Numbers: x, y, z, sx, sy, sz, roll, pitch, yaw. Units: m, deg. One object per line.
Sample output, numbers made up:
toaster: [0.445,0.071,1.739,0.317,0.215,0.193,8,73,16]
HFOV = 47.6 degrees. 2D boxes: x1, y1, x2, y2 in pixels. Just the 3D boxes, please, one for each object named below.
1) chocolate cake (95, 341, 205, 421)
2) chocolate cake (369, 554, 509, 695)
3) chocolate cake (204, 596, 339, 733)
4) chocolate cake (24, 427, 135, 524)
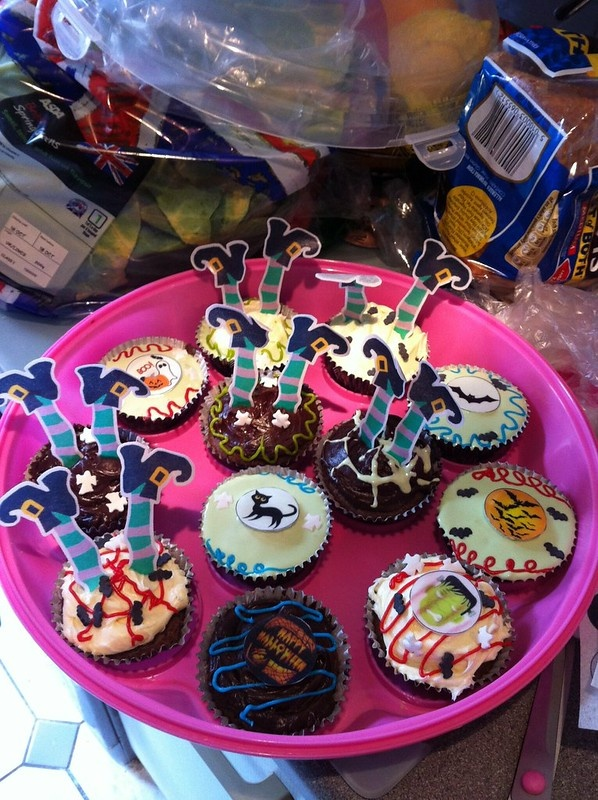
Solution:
chocolate cake: [-0.468,-0.035,2.118,0.280,0.085,0.257,19,53,-5]
chocolate cake: [0.327,0.501,1.577,0.326,0.102,0.311,-2,48,2]
chocolate cake: [-0.053,0.579,1.540,0.336,0.135,0.337,5,45,5]
chocolate cake: [-0.537,0.207,1.765,0.259,0.087,0.246,-5,73,-11]
